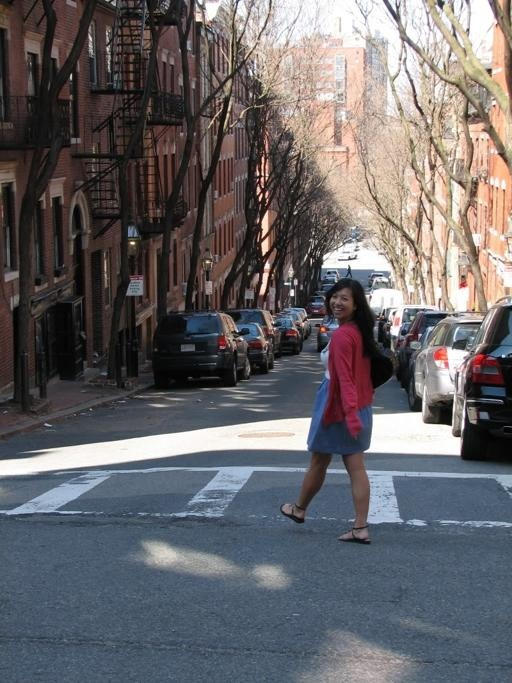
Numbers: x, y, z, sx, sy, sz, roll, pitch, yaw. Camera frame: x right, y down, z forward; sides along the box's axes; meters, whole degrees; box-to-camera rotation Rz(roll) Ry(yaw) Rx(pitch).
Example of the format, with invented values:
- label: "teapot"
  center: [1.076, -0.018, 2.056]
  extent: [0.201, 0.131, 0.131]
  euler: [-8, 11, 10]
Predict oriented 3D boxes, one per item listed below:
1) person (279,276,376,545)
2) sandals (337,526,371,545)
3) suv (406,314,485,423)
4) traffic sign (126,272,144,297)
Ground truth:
- label: "person"
  center: [0.525, 0.411, 5.489]
  extent: [0.379, 1.553, 0.734]
  euler: [0, 4, -21]
- label: "sandals"
  center: [0.603, 1.151, 5.471]
  extent: [0.216, 0.102, 0.079]
  euler: [3, 3, 44]
- label: "suv"
  center: [2.771, 0.338, 13.375]
  extent: [0.803, 0.867, 2.048]
  euler: [0, 6, 3]
- label: "traffic sign"
  center: [-2.816, -1.296, 21.265]
  extent: [0.483, 0.604, 0.500]
  euler: [4, 2, 41]
